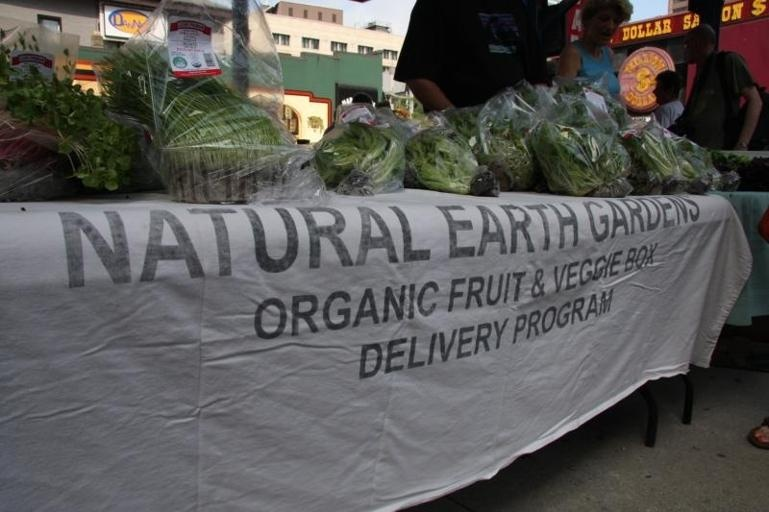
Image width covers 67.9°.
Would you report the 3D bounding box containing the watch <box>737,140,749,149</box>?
[{"bbox_3d":[2.820,-0.870,4.491,0.065,0.065,0.069,9,2,36],"label":"watch"}]
